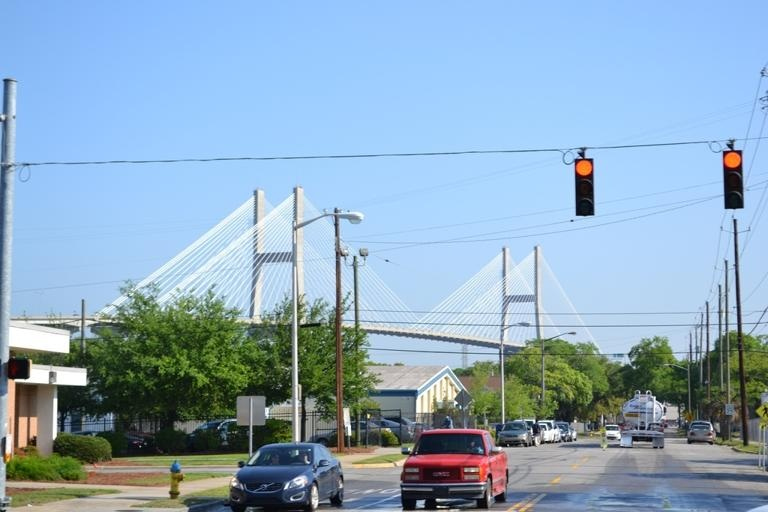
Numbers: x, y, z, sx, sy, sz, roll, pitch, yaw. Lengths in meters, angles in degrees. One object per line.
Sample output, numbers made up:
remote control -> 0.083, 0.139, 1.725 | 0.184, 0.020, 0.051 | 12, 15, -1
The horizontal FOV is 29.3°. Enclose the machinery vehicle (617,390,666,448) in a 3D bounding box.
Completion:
machinery vehicle -> 19.197, 12.169, 110.101 | 3.020, 4.177, 1.713 | -3, -13, 6

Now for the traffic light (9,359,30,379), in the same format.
traffic light -> -17.101, 5.385, 69.350 | 0.853, 0.812, 0.468 | -1, 1, 8

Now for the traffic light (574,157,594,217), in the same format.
traffic light -> 9.539, -3.171, 70.381 | 0.860, 2.802, 0.587 | -4, -14, 13

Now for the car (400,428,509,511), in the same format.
car -> 3.662, 10.200, 71.445 | 3.490, 3.062, 8.997 | -2, -7, 14
